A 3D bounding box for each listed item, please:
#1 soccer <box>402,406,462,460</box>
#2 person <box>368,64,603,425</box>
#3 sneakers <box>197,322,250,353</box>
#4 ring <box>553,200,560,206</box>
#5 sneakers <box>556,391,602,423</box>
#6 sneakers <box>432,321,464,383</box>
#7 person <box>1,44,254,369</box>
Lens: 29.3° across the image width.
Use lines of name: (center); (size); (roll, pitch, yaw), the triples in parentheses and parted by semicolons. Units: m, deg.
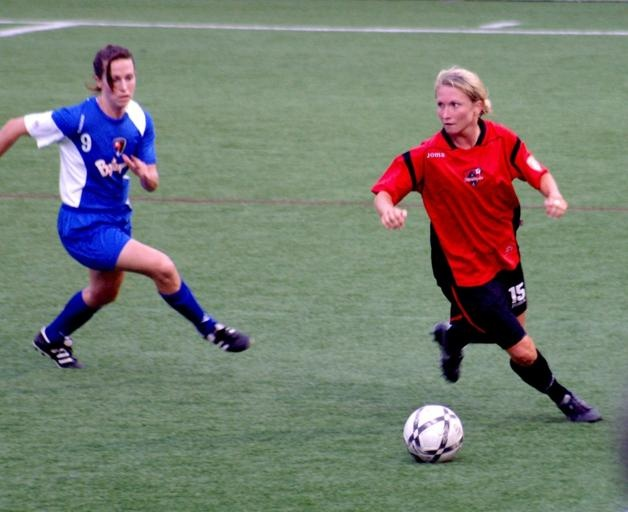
soccer: (0.628, 0.915, 6.042); (0.375, 0.279, 0.329); (5, -10, 12)
person: (0.904, -0.092, 6.219); (1.191, 1.667, 0.559); (15, 34, 16)
sneakers: (-0.482, 0.452, 6.671); (0.286, 0.113, 0.113); (16, -7, -1)
ring: (1.192, -0.265, 5.913); (0.031, 0.013, 0.028); (-11, 24, -28)
sneakers: (1.364, 0.777, 6.290); (0.246, 0.126, 0.139); (12, 32, 21)
sneakers: (0.719, 0.507, 6.470); (0.144, 0.328, 0.140); (-6, 39, 7)
person: (-1.098, -0.192, 6.447); (0.816, 1.765, 0.981); (-17, 38, -31)
